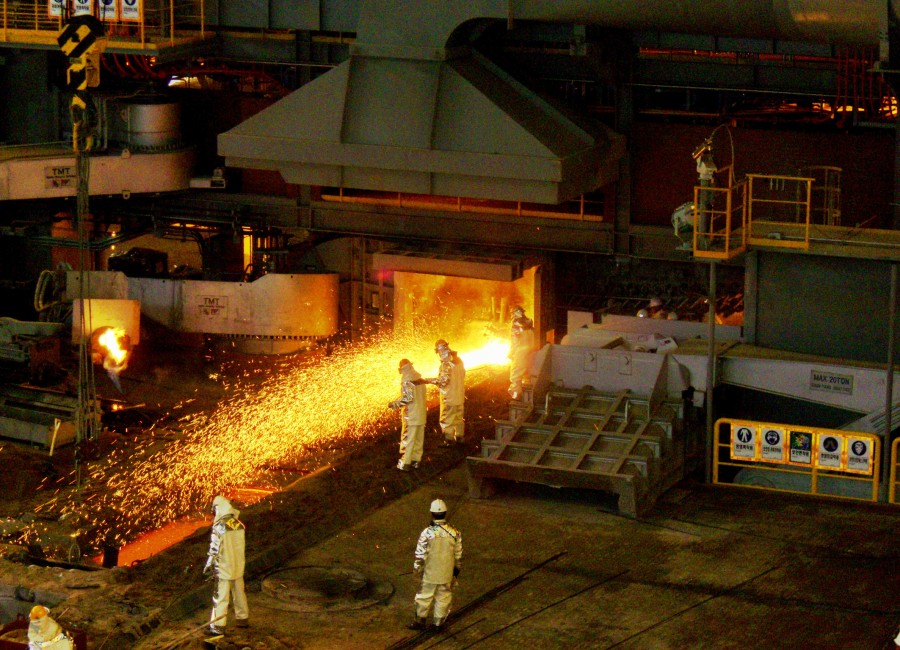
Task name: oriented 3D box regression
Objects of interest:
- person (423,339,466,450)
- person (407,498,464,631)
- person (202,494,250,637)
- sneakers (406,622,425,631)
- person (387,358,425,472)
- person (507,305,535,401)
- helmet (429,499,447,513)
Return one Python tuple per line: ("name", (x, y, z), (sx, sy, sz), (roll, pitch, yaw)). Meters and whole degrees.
("person", (-0.037, 1.059, 20.110), (0.584, 1.634, 1.395), (2, 8, 3))
("person", (-0.145, 2.768, 14.625), (0.556, 1.484, 0.399), (1, 8, -9))
("person", (-2.577, 2.723, 14.409), (0.302, 1.506, 0.592), (7, 9, 31))
("sneakers", (-0.382, 3.490, 14.765), (0.120, 0.050, 0.136), (-3, 0, -21))
("person", (-0.617, 1.344, 19.168), (0.499, 1.641, 0.990), (2, 8, -2))
("person", (1.205, 0.526, 21.408), (0.416, 1.556, 0.929), (2, 8, 3))
("helmet", (-0.124, 2.092, 14.732), (0.268, 0.144, 0.352), (-1, 3, -2))
